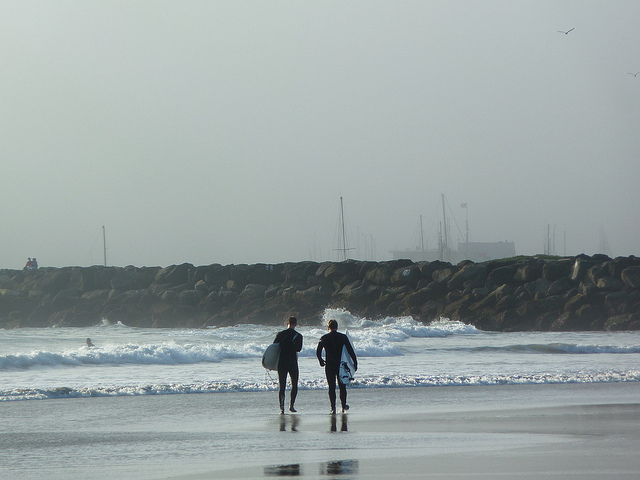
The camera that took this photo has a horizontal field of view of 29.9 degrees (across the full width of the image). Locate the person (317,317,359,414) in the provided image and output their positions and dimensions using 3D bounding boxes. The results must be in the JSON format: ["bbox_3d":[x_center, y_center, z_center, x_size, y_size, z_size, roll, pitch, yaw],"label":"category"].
[{"bbox_3d":[0.502,3.582,33.606,1.091,2.605,1.441,0,-3,0],"label":"person"}]

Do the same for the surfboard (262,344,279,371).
[{"bbox_3d":[-1.357,3.310,33.316,0.454,0.739,0.361,0,-3,-3],"label":"surfboard"}]

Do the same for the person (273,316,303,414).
[{"bbox_3d":[-0.870,3.541,33.456,0.701,2.681,0.775,0,-3,-2],"label":"person"}]

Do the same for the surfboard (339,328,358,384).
[{"bbox_3d":[0.830,3.314,33.348,0.544,1.722,0.188,-12,31,-15],"label":"surfboard"}]
